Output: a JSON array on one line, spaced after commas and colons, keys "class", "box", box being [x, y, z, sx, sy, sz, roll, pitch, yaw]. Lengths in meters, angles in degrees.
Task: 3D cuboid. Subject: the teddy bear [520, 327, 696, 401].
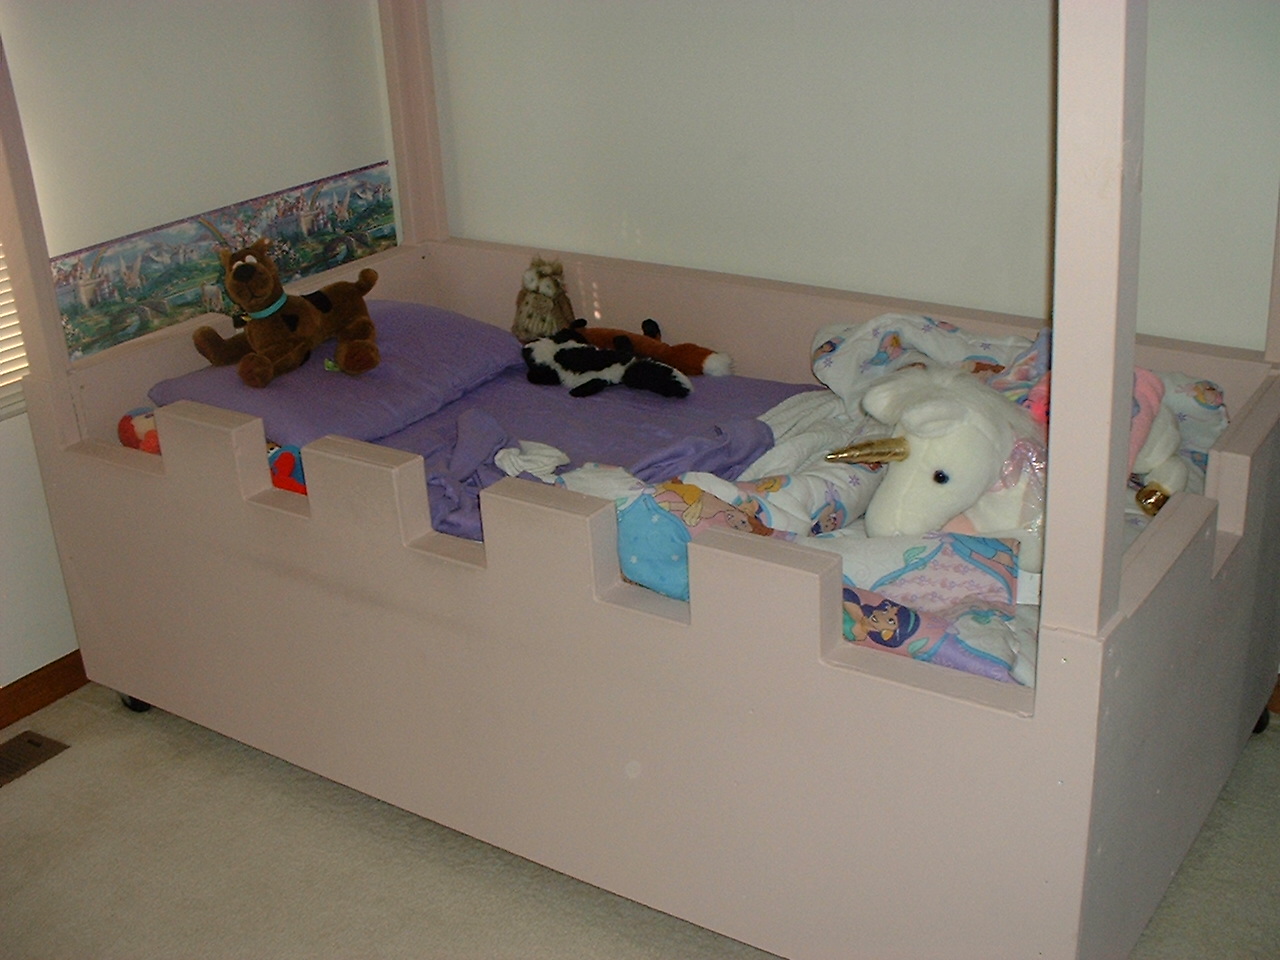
[{"class": "teddy bear", "box": [-0.134, -0.341, 2.972, 0.407, 0.109, 0.225, 17, 33, 19]}]

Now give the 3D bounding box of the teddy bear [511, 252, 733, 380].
[{"class": "teddy bear", "box": [-0.031, -0.538, 3.147, 0.677, 0.291, 0.359, 17, 41, 19]}]

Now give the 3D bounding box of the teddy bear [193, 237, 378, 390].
[{"class": "teddy bear", "box": [-0.933, -0.503, 2.732, 0.347, 0.395, 0.515, 16, 30, 41]}]

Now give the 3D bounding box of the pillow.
[{"class": "pillow", "box": [-0.744, -0.263, 2.837, 0.511, 0.147, 0.632, 17, 30, 27]}]
